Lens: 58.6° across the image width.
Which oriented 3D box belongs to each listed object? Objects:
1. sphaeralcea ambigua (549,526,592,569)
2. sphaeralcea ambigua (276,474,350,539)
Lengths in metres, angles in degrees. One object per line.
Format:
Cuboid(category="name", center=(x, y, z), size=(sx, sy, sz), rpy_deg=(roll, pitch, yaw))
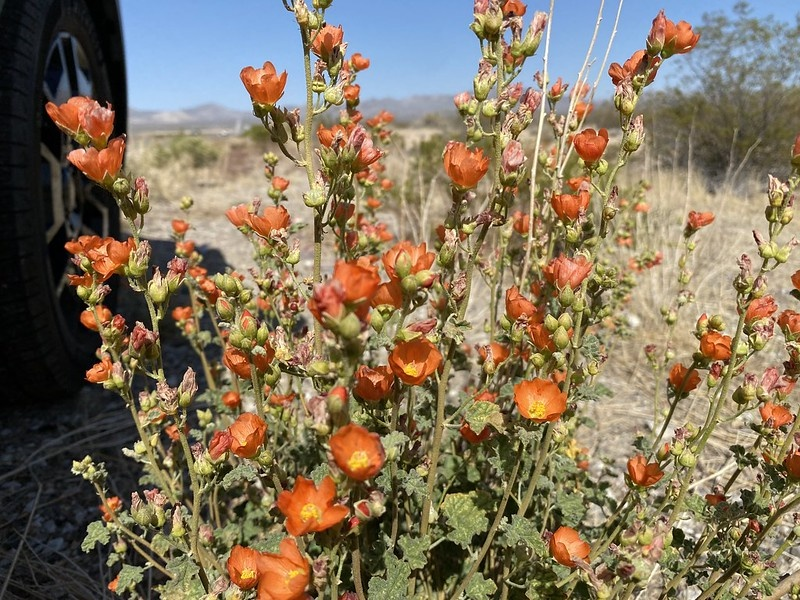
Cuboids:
Cuboid(category="sphaeralcea ambigua", center=(1.021, 1.434, 4.195), size=(0.278, 0.131, 0.309), rpy_deg=(-6, -13, 21))
Cuboid(category="sphaeralcea ambigua", center=(-0.471, 1.073, 3.560), size=(0.327, 0.183, 0.401), rpy_deg=(-18, 20, 3))
